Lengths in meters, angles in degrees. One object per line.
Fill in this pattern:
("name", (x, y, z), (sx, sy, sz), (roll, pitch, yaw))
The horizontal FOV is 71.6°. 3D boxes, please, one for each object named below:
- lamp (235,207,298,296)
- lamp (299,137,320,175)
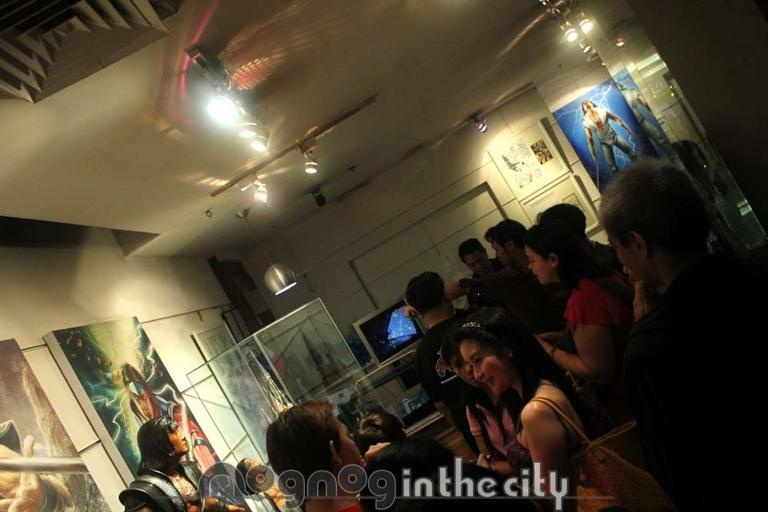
("lamp", (-1.277, -0.002, 6.055), (0.301, 0.728, 1.482), (-22, -9, -7))
("lamp", (-0.645, -0.875, 4.580), (0.241, 0.293, 0.132), (3, 13, 32))
